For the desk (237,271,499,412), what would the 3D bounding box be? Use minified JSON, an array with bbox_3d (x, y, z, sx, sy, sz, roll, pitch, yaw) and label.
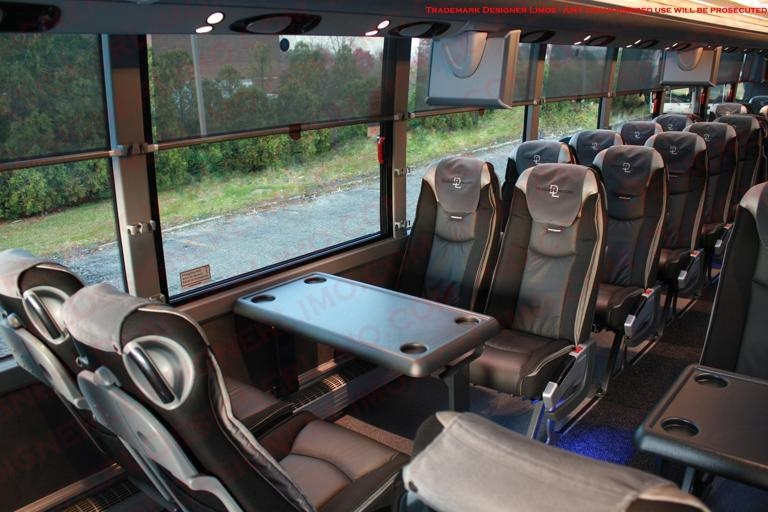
[{"bbox_3d":[-0.143,0.590,2.661,1.397,0.667,0.681,10,20,39],"label":"desk"}]
